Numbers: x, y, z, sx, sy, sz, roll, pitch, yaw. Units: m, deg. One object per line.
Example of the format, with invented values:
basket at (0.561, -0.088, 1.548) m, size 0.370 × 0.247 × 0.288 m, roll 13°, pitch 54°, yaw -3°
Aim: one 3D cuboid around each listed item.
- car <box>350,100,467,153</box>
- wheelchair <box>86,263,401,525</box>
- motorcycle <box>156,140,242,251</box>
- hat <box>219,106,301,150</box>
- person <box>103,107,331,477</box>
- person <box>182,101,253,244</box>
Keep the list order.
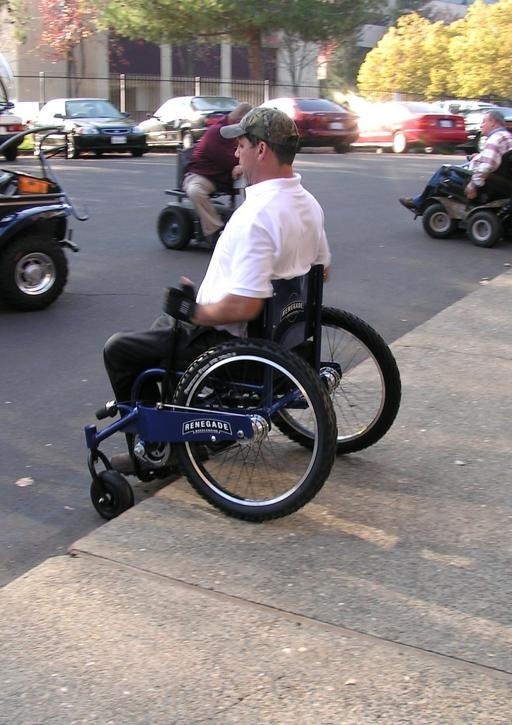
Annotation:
car at (5.320, -8.599, 24.331) m, size 1.874 × 1.317 × 4.316 m, roll -19°, pitch 30°, yaw -33°
wheelchair at (-0.009, 0.098, 3.043) m, size 1.488 × 1.018 × 1.018 m, roll 9°, pitch 19°, yaw 26°
motorcycle at (-0.842, -2.389, 9.957) m, size 1.745 × 1.531 × 1.222 m, roll 5°, pitch 20°, yaw 16°
hat at (0.019, -0.924, 2.625) m, size 0.273 × 0.132 × 0.179 m, roll 10°, pitch 24°, yaw 5°
person at (-0.242, -0.306, 2.968) m, size 1.086 × 1.507 × 0.774 m, roll 6°, pitch 25°, yaw 20°
person at (-0.458, -2.635, 9.229) m, size 1.070 × 1.809 × 0.947 m, roll 15°, pitch 25°, yaw 7°
